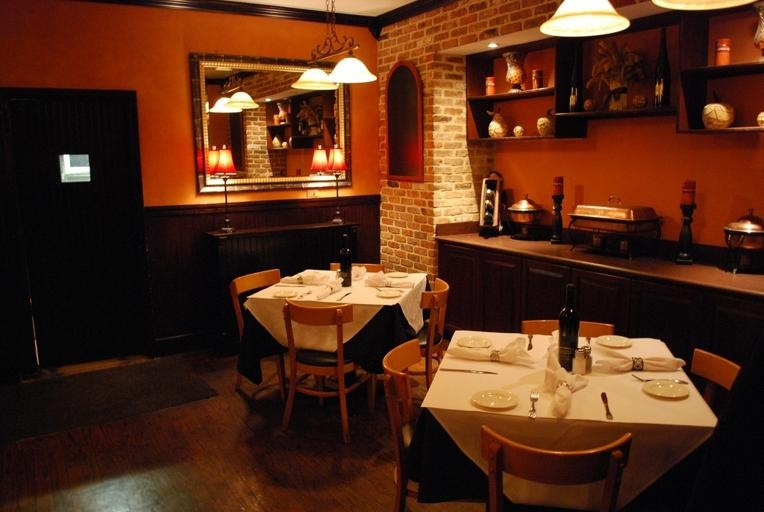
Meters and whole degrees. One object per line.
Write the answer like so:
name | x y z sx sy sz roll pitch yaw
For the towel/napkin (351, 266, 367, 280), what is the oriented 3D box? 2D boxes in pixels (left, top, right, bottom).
towel/napkin | -0.207 0.148 5.047 0.101 0.049 0.115 -7 20 -11

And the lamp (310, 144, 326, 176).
lamp | -0.694 -1.130 6.503 0.254 0.329 0.262 0 6 -4

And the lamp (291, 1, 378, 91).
lamp | -0.551 -2.293 6.059 0.521 1.195 1.281 -4 5 -32

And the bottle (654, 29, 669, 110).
bottle | 2.340 -1.561 4.692 0.123 0.643 0.326 4 13 26

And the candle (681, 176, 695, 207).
candle | 2.492 -0.508 4.591 0.092 0.192 0.132 4 13 28

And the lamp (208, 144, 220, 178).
lamp | -1.790 -1.029 6.048 0.137 0.287 0.167 0 12 9

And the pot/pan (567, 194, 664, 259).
pot/pan | 2.134 -0.402 5.108 0.759 0.549 0.532 10 18 43

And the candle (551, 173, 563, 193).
candle | 1.728 -0.686 5.517 0.101 0.170 0.086 -2 12 1

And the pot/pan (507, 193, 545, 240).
pot/pan | 1.509 -0.410 5.829 0.413 0.486 0.429 3 8 23

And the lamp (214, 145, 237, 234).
lamp | -1.676 -0.723 6.076 0.198 0.895 0.414 -2 12 -2

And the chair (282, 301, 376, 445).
chair | -0.440 0.818 4.663 0.738 1.092 0.870 -2 12 -1

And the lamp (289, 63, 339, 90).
lamp | -0.568 -1.497 4.760 0.333 0.161 0.238 -2 12 -2

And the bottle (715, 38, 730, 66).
bottle | 2.633 -1.577 4.362 0.088 0.189 0.087 -2 12 0

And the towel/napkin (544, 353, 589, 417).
towel/napkin | 1.001 0.734 3.144 0.173 0.094 0.283 -6 49 20

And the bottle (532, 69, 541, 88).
bottle | 1.558 -1.770 5.643 0.097 0.196 0.209 1 12 15

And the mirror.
mirror | -1.305 -1.487 6.213 1.602 1.251 0.075 -3 8 -23
